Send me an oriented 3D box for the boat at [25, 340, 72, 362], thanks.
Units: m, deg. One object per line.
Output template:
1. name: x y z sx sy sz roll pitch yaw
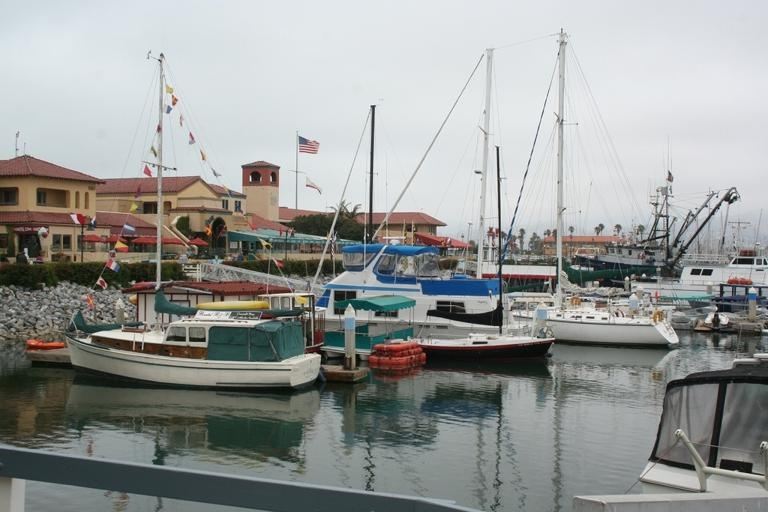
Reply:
1. boat: -17.628 5.070 54.546 2.077 0.672 3.049 -5 15 -18
